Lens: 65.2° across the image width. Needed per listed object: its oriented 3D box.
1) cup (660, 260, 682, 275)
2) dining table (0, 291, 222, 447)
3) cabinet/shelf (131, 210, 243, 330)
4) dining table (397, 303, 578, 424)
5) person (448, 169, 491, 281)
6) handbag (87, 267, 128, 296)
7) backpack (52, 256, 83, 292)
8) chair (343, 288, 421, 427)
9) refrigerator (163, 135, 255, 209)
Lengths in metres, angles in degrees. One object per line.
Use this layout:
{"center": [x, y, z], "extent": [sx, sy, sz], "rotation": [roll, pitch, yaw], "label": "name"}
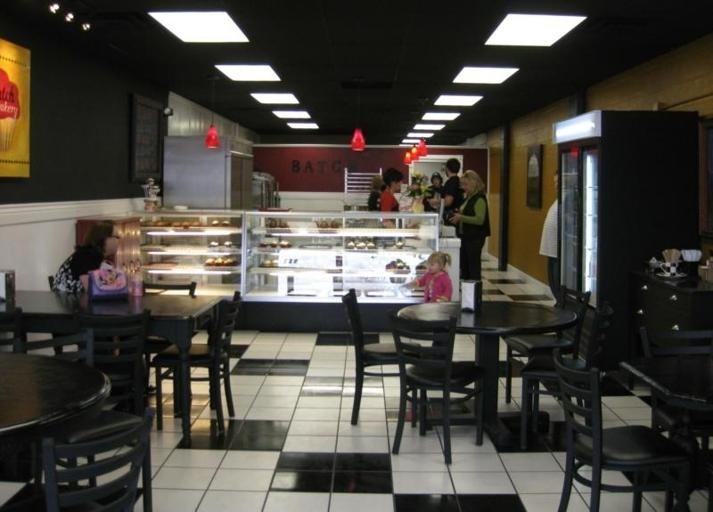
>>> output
{"center": [3.186, 0.129, 5.668], "extent": [0.197, 0.142, 0.116], "rotation": [-1, 1, 6], "label": "cup"}
{"center": [-1.884, 1.063, 4.641], "extent": [1.923, 0.950, 1.074], "rotation": [0, -1, 7], "label": "dining table"}
{"center": [-1.979, 0.096, 6.603], "extent": [1.559, 1.461, 0.600], "rotation": [1, 6, 10], "label": "cabinet/shelf"}
{"center": [1.180, 0.705, 4.778], "extent": [1.159, 0.754, 1.165], "rotation": [0, 2, -5], "label": "dining table"}
{"center": [1.753, -0.420, 8.712], "extent": [0.573, 1.810, 1.178], "rotation": [1, 9, 3], "label": "person"}
{"center": [-2.290, 0.274, 5.131], "extent": [0.279, 0.185, 0.277], "rotation": [6, -15, -25], "label": "handbag"}
{"center": [-2.851, 0.175, 5.553], "extent": [0.314, 0.363, 0.366], "rotation": [1, 3, 5], "label": "backpack"}
{"center": [0.081, 0.885, 5.624], "extent": [0.987, 1.512, 0.883], "rotation": [-1, 0, 0], "label": "chair"}
{"center": [-2.505, -1.040, 9.568], "extent": [1.023, 1.295, 1.919], "rotation": [0, 1, 2], "label": "refrigerator"}
